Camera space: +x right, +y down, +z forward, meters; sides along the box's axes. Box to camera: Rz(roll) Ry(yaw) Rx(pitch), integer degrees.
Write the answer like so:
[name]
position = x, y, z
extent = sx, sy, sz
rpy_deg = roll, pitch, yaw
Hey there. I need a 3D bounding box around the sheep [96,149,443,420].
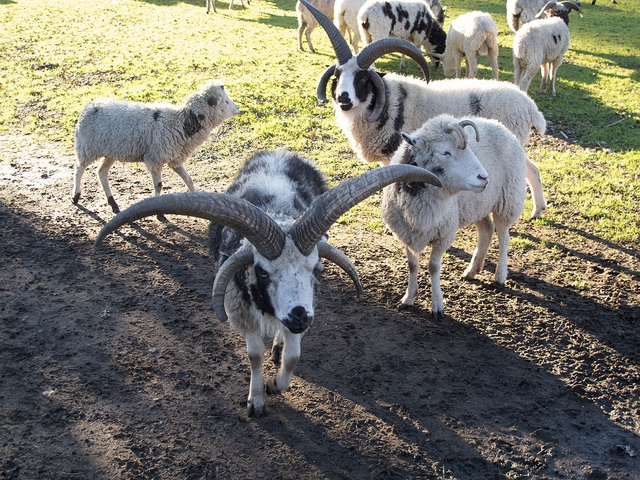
[sheep]
position = -0.569, 0.361, 9.027
extent = 2.303, 3.096, 2.468
rpy_deg = 24, 36, 20
